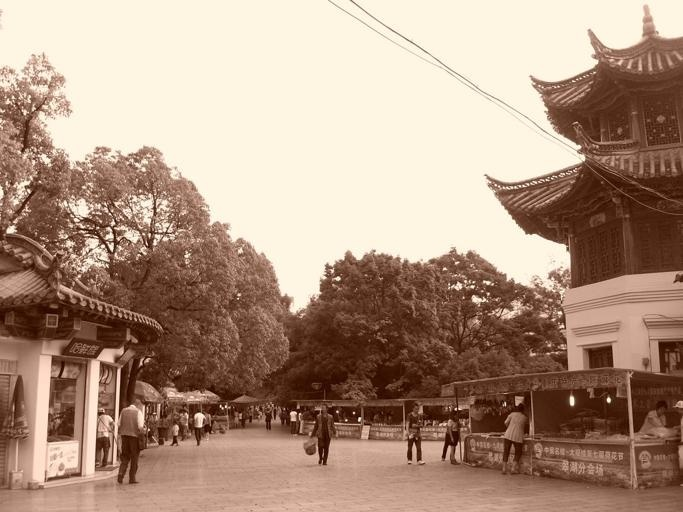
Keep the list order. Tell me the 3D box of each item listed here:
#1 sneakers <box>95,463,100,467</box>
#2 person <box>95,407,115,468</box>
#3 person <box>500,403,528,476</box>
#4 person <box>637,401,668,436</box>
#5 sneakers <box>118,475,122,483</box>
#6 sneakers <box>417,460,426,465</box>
[{"bbox_3d":[-7.842,6.703,21.525,0.115,0.058,0.170,4,-13,-16],"label":"sneakers"},{"bbox_3d":[-7.632,5.843,21.608,0.565,1.827,0.996,5,-14,-19],"label":"person"},{"bbox_3d":[5.207,5.526,20.296,0.755,2.012,0.618,-6,-15,26],"label":"person"},{"bbox_3d":[8.685,4.495,18.741,0.598,0.953,1.707,-7,-17,29],"label":"person"},{"bbox_3d":[-6.089,6.134,18.447,0.091,0.270,0.111,6,25,-17],"label":"sneakers"},{"bbox_3d":[2.658,6.964,22.631,0.114,0.141,0.318,7,-21,-28],"label":"sneakers"}]
